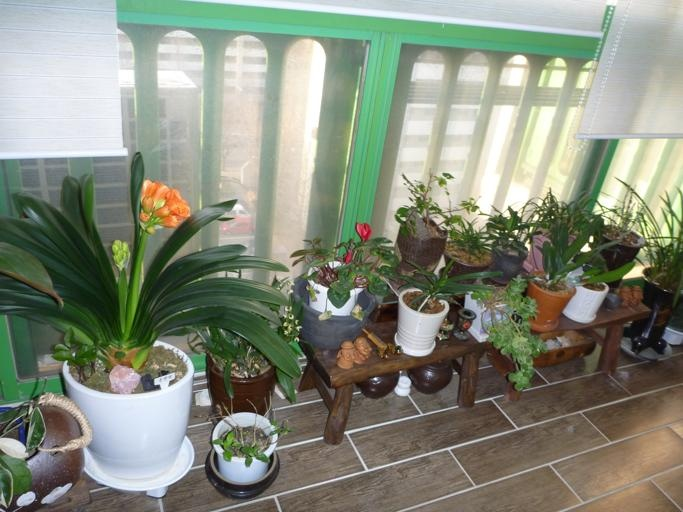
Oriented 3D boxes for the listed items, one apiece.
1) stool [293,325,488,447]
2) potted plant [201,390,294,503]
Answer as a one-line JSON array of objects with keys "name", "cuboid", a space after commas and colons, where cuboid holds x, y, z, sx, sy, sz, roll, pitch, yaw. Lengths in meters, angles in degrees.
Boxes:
[{"name": "stool", "cuboid": [0.232, 0.513, 1.977, 0.805, 0.423, 0.339, -7, 31, -21]}, {"name": "potted plant", "cuboid": [-0.322, 0.715, 1.667, 0.373, 0.370, 0.314, 4, 33, -4]}]
